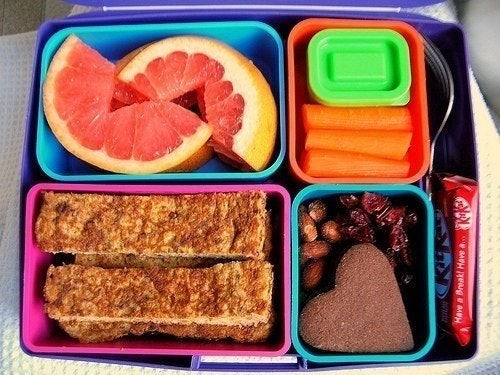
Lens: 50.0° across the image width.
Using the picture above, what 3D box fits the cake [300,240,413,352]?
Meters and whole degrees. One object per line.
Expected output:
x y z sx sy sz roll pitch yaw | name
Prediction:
0.490 0.544 2.575 0.527 0.133 0.494 -5 71 1 | cake

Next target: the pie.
-0.448 0.388 2.528 1.129 0.334 0.668 1 71 2 | pie
